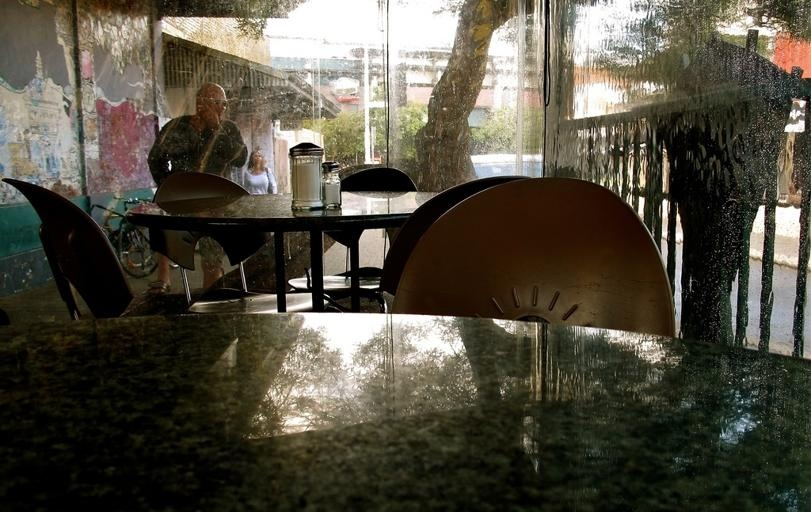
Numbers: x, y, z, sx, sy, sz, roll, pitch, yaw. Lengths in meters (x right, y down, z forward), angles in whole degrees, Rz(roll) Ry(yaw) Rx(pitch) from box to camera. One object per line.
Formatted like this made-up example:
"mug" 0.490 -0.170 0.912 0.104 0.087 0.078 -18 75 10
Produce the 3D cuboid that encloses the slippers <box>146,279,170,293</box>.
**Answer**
"slippers" -1.701 0.204 4.424 0.066 0.054 0.131 -1 2 11

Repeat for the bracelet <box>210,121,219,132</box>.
"bracelet" -1.300 -0.889 4.447 0.050 0.013 0.052 21 -50 -39

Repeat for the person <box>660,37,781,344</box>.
"person" 0.791 -0.141 1.651 0.299 0.875 0.324 -5 33 17

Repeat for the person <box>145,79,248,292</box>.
"person" -1.447 -0.441 4.515 0.589 1.523 0.426 3 3 -19

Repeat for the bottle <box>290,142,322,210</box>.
"bottle" -0.334 -0.275 2.211 0.120 0.219 0.122 -2 10 0
